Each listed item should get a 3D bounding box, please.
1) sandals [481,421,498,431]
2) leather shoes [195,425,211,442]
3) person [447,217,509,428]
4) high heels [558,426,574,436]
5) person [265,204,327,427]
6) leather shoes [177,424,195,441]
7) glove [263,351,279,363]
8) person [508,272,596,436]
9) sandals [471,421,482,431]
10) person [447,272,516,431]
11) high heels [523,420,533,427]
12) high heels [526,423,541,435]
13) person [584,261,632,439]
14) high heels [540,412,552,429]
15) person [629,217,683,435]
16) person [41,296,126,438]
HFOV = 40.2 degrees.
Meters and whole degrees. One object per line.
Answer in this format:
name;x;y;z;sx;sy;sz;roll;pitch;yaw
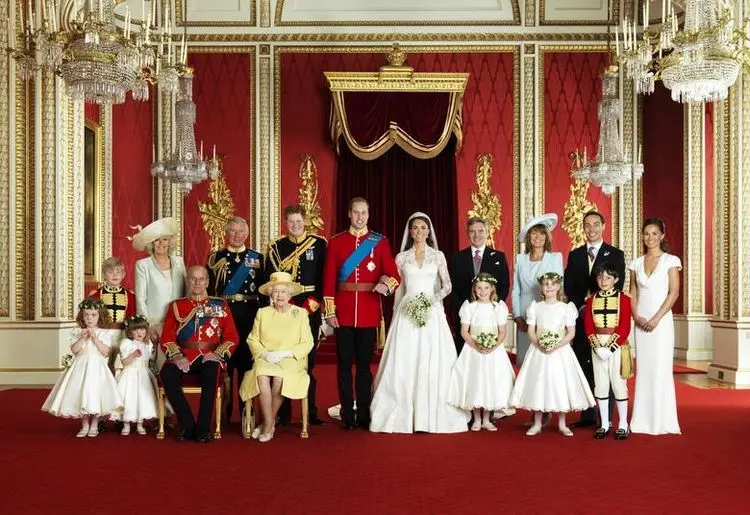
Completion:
sandals;1.181;1.745;10.499;0.078;0.055;0.152;-4;-1;-24
leather shoes;-1.714;1.746;10.082;0.144;0.144;0.163;-2;13;-9
person;1.120;0.618;10.819;0.682;2.018;0.508;-2;-5;2
high heels;1.921;1.770;10.330;0.070;0.050;0.133;-2;-3;-23
person;-0.852;0.594;10.848;0.720;2.204;0.624;0;17;-6
leather shoes;-1.875;1.740;10.109;0.196;0.153;0.175;-3;13;-11
glove;-1.044;0.996;10.207;0.107;0.105;0.047;9;-6;2
person;1.806;0.995;10.355;0.785;1.604;0.634;3;14;11
sandals;1.039;1.746;10.506;0.094;0.059;0.165;-2;0;8
person;1.103;0.898;10.503;0.659;1.374;0.585;1;13;5
high heels;1.607;1.756;10.676;0.122;0.080;0.041;-1;-5;27
high heels;1.610;1.745;10.364;0.175;0.069;0.086;4;-5;-44
person;2.372;0.938;10.346;0.470;1.664;0.772;1;13;4
high heels;1.768;1.705;10.557;0.137;0.133;0.129;-1;3;19
person;2.879;0.698;10.432;0.607;2.116;0.822;3;14;14
person;-2.958;1.140;10.274;0.717;1.356;0.578;-4;14;-16
